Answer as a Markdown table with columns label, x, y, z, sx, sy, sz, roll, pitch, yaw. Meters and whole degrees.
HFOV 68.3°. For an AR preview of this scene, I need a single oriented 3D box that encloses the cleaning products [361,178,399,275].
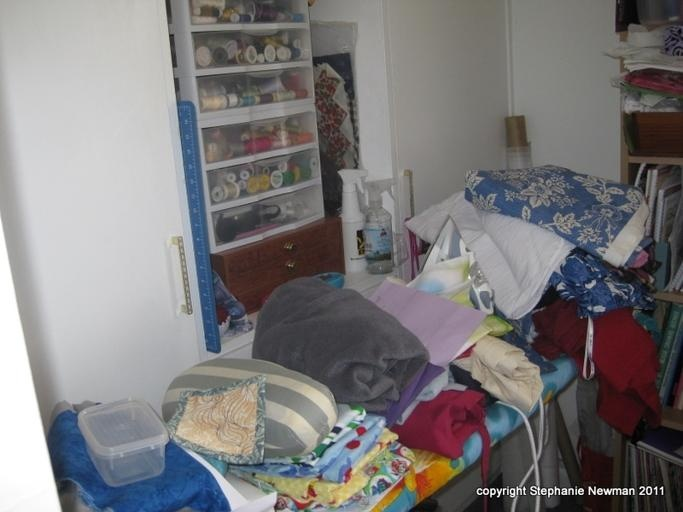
| label | x | y | z | sx | sy | sz | roll | pitch | yaw |
| --- | --- | --- | --- | --- | --- | --- | --- | --- | --- |
| cleaning products | 0.158 | -0.131 | 2.076 | 0.152 | 0.393 | 0.136 | -6 | 20 | -1 |

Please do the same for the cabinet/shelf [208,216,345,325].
| label | x | y | z | sx | sy | sz | roll | pitch | yaw |
| --- | --- | --- | --- | --- | --- | --- | --- | --- | --- |
| cabinet/shelf | -0.218 | 0.026 | 1.873 | 0.486 | 0.222 | 0.168 | -20 | 21 | -30 |

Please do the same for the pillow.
| label | x | y | z | sx | sy | sz | roll | pitch | yaw |
| --- | --- | --- | --- | --- | --- | --- | --- | --- | --- |
| pillow | -0.195 | 0.330 | 1.106 | 0.353 | 0.120 | 0.183 | 6 | 36 | 25 |

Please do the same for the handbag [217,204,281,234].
| label | x | y | z | sx | sy | sz | roll | pitch | yaw |
| --- | --- | --- | --- | --- | --- | --- | --- | --- | --- |
| handbag | -0.321 | -0.126 | 1.755 | 0.070 | 0.079 | 0.220 | 19 | 33 | 38 |

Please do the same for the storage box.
| label | x | y | z | sx | sy | sz | roll | pitch | yaw |
| --- | --- | --- | --- | --- | --- | --- | --- | --- | --- |
| storage box | -0.409 | 0.338 | 0.935 | 0.140 | 0.077 | 0.199 | -1 | 9 | -41 |
